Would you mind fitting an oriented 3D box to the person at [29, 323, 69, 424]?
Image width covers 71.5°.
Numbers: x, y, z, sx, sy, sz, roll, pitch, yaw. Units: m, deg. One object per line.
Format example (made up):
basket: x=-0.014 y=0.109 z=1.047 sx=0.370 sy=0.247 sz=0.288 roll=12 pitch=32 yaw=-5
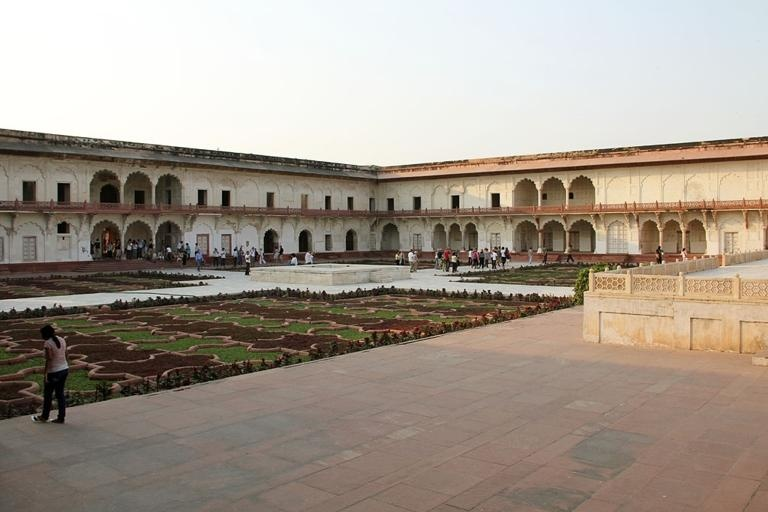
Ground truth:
person: x=-3.996 y=1.364 z=6.371 sx=0.402 sy=1.124 sz=0.714 roll=-4 pitch=0 yaw=-31
